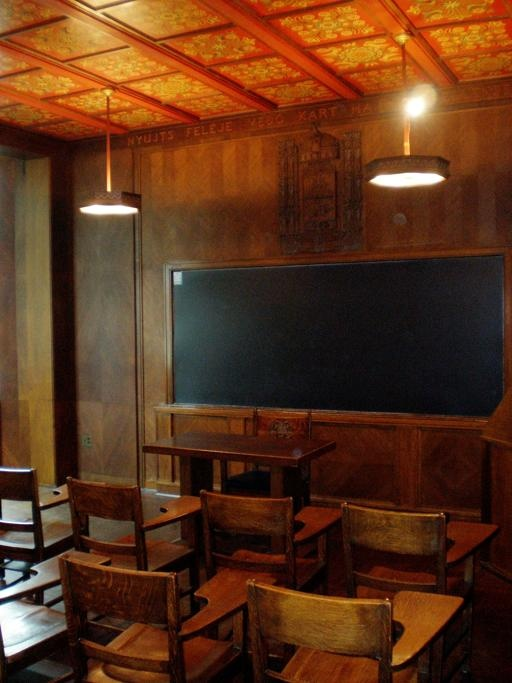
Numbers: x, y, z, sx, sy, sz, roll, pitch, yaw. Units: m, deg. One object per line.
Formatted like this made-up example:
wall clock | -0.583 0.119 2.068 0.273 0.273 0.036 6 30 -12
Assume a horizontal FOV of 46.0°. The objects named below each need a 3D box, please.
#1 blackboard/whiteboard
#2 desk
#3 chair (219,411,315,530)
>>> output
blackboard/whiteboard | 0.635 -0.053 5.426 2.998 1.393 0.188 -2 4 25
desk | -0.089 1.000 4.085 1.153 0.618 0.617 -1 2 27
chair | 0.088 0.964 4.567 0.521 0.810 0.555 -1 4 31
